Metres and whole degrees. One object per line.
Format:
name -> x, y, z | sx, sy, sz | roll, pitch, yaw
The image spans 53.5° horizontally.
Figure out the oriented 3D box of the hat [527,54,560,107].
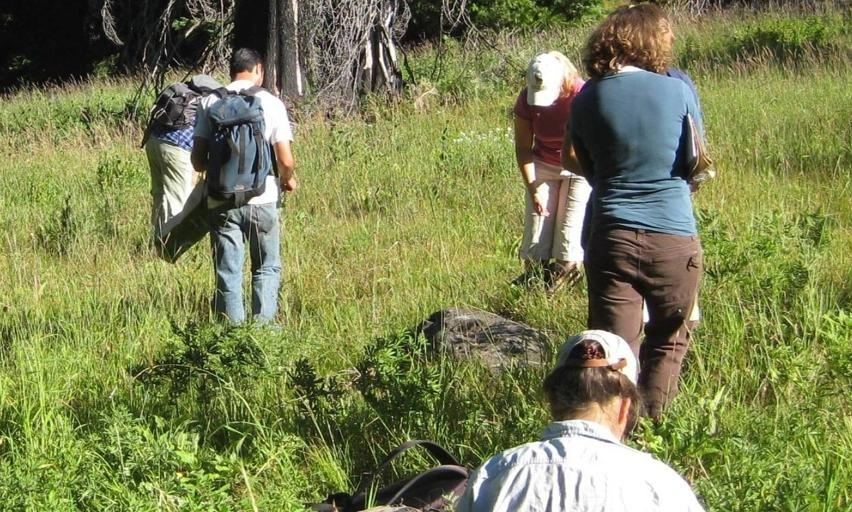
hat -> 1.228, -1.834, 8.773 | 0.412, 0.708, 0.309 | 4, -19, 8
